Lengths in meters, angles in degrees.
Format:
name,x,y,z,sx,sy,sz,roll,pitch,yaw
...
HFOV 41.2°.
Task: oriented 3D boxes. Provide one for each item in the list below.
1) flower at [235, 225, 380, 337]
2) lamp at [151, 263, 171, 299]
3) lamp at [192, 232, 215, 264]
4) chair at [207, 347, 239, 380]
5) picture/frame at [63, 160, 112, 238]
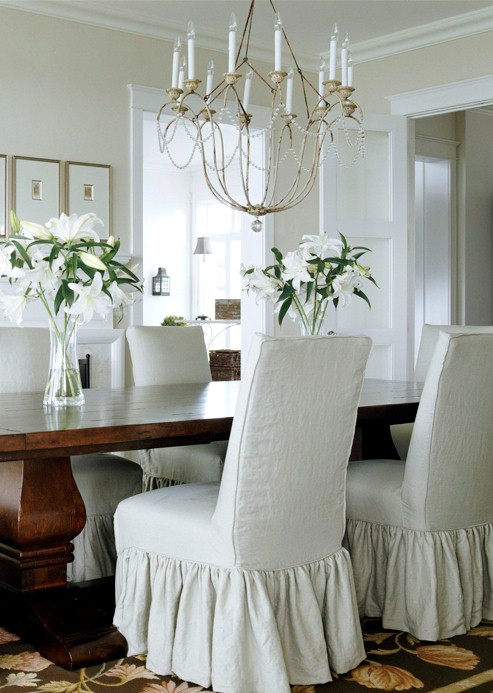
name,x,y,z,sx,sy,sz,roll,pitch,yaw
flower,0.262,-0.172,2.439,0.482,0.433,0.489,-4,-5,36
lamp,-1.309,-0.990,10.127,0.285,0.443,0.280,-1,11,-8
lamp,-0.698,-1.501,9.969,0.350,0.412,0.347,-1,-5,18
chair,-0.243,0.195,6.997,0.329,0.294,0.324,3,-5,-39
picture/frame,-1.057,-0.944,4.433,0.311,0.541,0.027,1,9,-4
